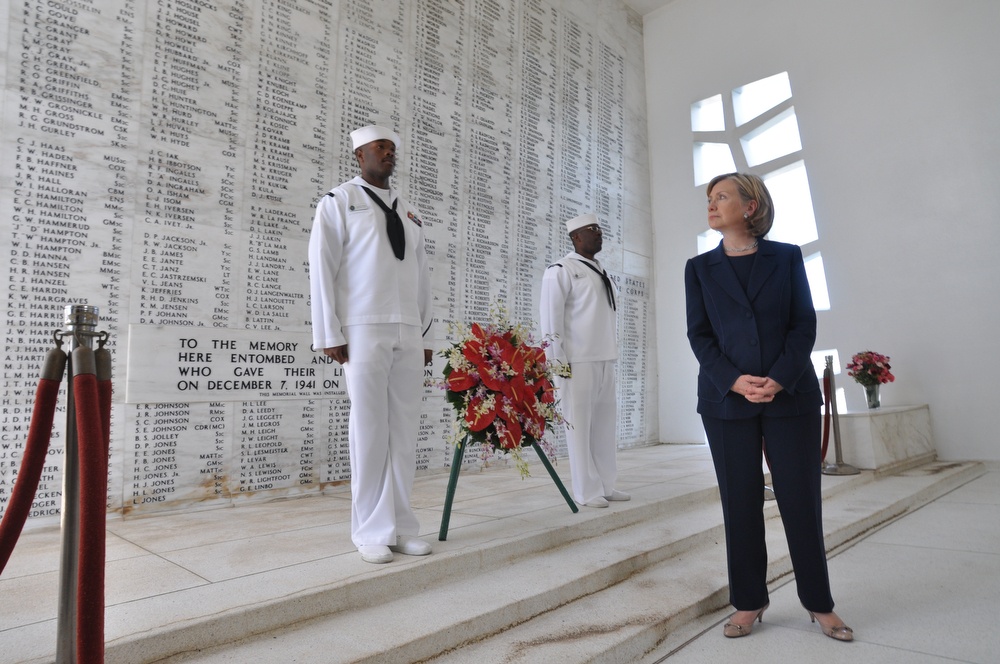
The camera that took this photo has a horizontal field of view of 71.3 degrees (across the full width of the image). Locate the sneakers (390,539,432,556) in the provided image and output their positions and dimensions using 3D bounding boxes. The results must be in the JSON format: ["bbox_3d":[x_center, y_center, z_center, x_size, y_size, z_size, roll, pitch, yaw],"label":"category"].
[{"bbox_3d":[-0.576,1.401,4.545,0.251,0.109,0.097,-10,-11,31],"label":"sneakers"}]

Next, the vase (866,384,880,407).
[{"bbox_3d":[4.327,0.732,8.079,0.128,0.278,0.180,-6,-5,22],"label":"vase"}]

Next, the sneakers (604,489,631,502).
[{"bbox_3d":[0.968,1.350,5.740,0.208,0.092,0.073,0,-3,-4],"label":"sneakers"}]

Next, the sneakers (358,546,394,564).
[{"bbox_3d":[-0.771,1.412,4.430,0.192,0.089,0.085,-10,-8,42],"label":"sneakers"}]

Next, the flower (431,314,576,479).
[{"bbox_3d":[0.001,0.433,5.082,0.993,1.115,0.528,21,-24,-35],"label":"flower"}]

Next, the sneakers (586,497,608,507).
[{"bbox_3d":[0.768,1.357,5.555,0.154,0.069,0.065,10,-14,-31],"label":"sneakers"}]

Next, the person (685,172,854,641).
[{"bbox_3d":[1.523,0.413,4.065,0.735,2.751,0.278,-5,-5,17],"label":"person"}]

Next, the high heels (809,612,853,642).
[{"bbox_3d":[1.899,1.684,4.023,0.107,0.085,0.301,0,-8,-14],"label":"high heels"}]

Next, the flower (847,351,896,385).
[{"bbox_3d":[4.311,0.408,8.118,0.399,0.380,0.422,2,5,6],"label":"flower"}]

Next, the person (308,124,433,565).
[{"bbox_3d":[-0.844,0.018,4.745,0.820,2.931,0.494,-3,-5,-14],"label":"person"}]

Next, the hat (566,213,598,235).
[{"bbox_3d":[0.720,-0.964,6.110,0.185,0.091,0.196,-10,-4,15],"label":"hat"}]
